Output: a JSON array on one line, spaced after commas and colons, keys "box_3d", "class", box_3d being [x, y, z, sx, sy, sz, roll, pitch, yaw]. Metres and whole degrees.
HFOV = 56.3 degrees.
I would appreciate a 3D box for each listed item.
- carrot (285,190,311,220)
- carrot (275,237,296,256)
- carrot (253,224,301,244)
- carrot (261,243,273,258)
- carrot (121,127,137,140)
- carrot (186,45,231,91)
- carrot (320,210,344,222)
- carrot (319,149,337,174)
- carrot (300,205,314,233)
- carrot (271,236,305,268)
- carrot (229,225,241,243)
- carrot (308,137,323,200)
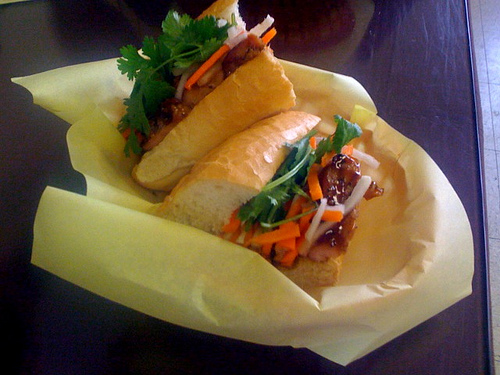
[{"box_3d": [0.202, 0.092, 2.083, 0.042, 0.047, 0.183, 38, 71, -5], "class": "carrot"}, {"box_3d": [0.151, 0.261, 2.009, 0.069, 0.072, 0.026, 4, 35, -13], "class": "carrot"}, {"box_3d": [0.122, 0.209, 2.035, 0.222, 0.072, 0.054, -12, 25, 14], "class": "carrot"}, {"box_3d": [0.069, 0.272, 2.017, 0.026, 0.021, 0.087, 31, 61, 8], "class": "carrot"}, {"box_3d": [-0.591, -0.261, 2.298, 0.057, 0.016, 0.057, -49, 40, 7], "class": "carrot"}, {"box_3d": [-0.179, -0.551, 2.178, 0.287, 0.058, 0.056, -44, 24, 2], "class": "carrot"}, {"box_3d": [0.345, 0.125, 1.968, 0.082, 0.032, 0.045, 0, 78, 28], "class": "carrot"}, {"box_3d": [0.365, -0.120, 2.124, 0.026, 0.063, 0.109, 36, 72, -18], "class": "carrot"}, {"box_3d": [0.238, 0.141, 2.056, 0.041, 0.033, 0.152, 21, 103, 25], "class": "carrot"}, {"box_3d": [0.158, 0.273, 2.046, 0.144, 0.144, 0.045, -54, 22, 14], "class": "carrot"}, {"box_3d": [-0.064, 0.216, 2.033, 0.030, 0.015, 0.057, 40, 78, -17], "class": "carrot"}, {"box_3d": [0.287, -0.087, 2.064, 0.060, 0.080, 0.293, 8, 57, 4], "class": "carrot"}]
